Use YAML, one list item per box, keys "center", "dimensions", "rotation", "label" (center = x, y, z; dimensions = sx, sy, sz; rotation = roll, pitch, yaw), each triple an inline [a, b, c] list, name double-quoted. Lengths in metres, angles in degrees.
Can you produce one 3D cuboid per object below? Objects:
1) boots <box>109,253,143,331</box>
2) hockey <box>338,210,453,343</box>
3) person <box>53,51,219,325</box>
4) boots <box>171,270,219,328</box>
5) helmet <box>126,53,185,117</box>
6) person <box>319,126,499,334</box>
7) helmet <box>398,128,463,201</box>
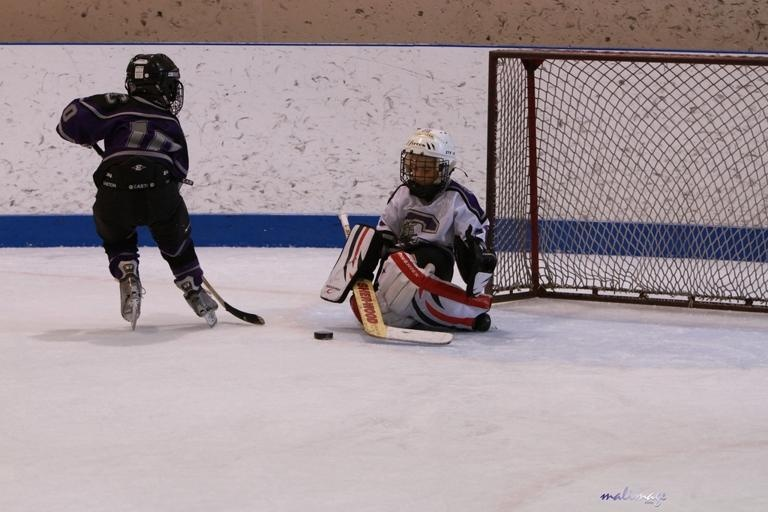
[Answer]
- center: [-1.327, 0.181, 5.102]
  dimensions: [0.151, 0.364, 0.173]
  rotation: [-8, 7, -22]
  label: "boots"
- center: [0.032, 0.180, 4.987]
  dimensions: [0.308, 0.037, 1.000]
  rotation: [-10, 35, -7]
  label: "hockey"
- center: [-1.314, -0.336, 5.189]
  dimensions: [0.735, 1.427, 0.541]
  rotation: [-4, 17, -19]
  label: "person"
- center: [-0.980, 0.238, 5.291]
  dimensions: [0.144, 0.373, 0.160]
  rotation: [-37, 12, 12]
  label: "boots"
- center: [-1.262, -0.932, 5.269]
  dimensions: [0.358, 0.297, 0.275]
  rotation: [6, 14, 0]
  label: "helmet"
- center: [0.224, -0.124, 5.310]
  dimensions: [1.031, 0.996, 0.637]
  rotation: [8, 20, 33]
  label: "person"
- center: [0.238, -0.521, 5.308]
  dimensions: [0.316, 0.323, 0.332]
  rotation: [18, 27, 36]
  label: "helmet"
